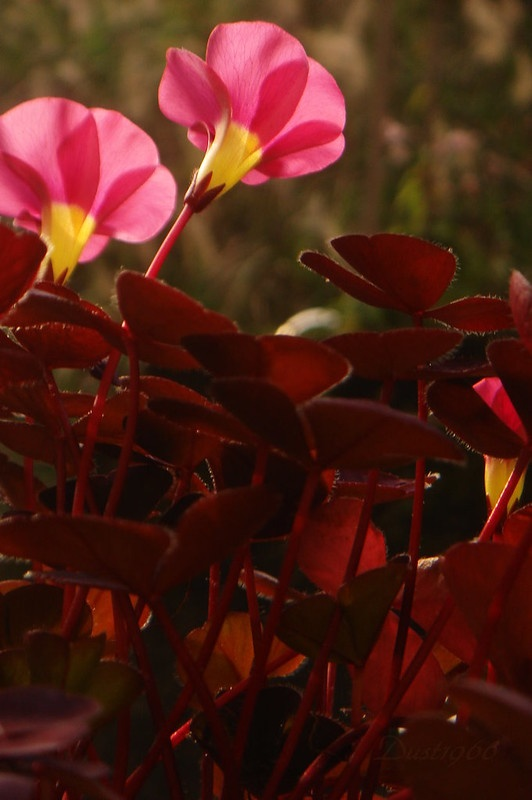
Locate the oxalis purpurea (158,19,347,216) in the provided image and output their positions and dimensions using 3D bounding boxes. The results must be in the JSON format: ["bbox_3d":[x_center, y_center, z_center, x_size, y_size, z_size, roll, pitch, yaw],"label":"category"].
[{"bbox_3d":[-0.006,-0.111,0.345,0.092,0.039,0.089,-3,73,-4],"label":"oxalis purpurea"}]
